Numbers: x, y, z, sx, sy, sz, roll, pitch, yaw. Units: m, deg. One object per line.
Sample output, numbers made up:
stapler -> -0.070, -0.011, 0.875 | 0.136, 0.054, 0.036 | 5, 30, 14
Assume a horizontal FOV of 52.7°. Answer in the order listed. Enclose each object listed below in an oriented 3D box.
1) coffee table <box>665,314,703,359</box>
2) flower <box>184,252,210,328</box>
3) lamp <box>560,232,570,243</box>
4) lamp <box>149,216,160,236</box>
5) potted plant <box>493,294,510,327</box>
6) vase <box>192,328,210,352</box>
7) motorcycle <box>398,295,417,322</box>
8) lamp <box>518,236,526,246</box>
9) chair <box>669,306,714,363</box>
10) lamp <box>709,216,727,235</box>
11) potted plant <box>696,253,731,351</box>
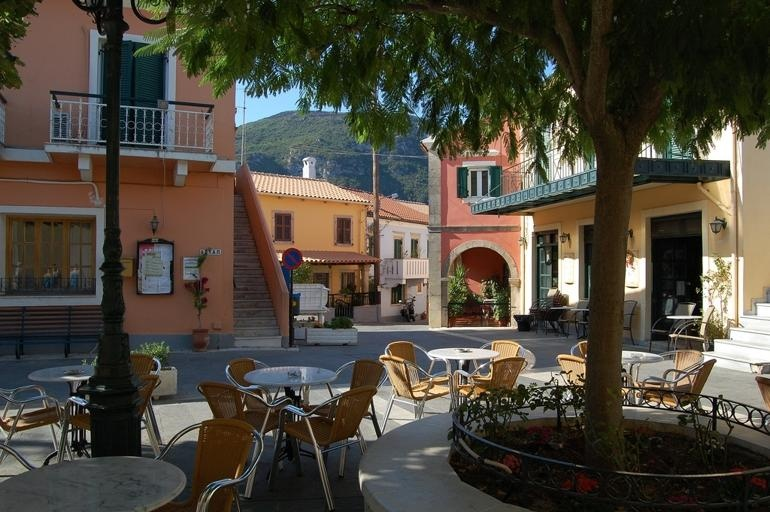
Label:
coffee table -> 5.691, 1.546, 14.822 | 0.642, 1.012, 0.701 | 2, 7, 26
flower -> -3.922, 0.741, 16.247 | 0.527, 1.482, 0.222 | 1, -3, -18
lamp -> 4.667, -0.461, 20.265 | 0.220, 0.282, 0.215 | 3, -2, 5
lamp -> -4.735, -0.616, 16.009 | 0.194, 0.434, 0.210 | 1, -3, -19
potted plant -> 3.531, 1.625, 23.573 | 0.490, 0.959, 0.464 | 0, -3, 7
vase -> -3.778, 1.717, 15.919 | 0.379, 0.460, 0.385 | 0, -9, -5
motorcycle -> 1.031, 2.698, 36.788 | 0.563, 0.745, 1.136 | -11, -14, 13
lamp -> 3.963, -0.426, 22.632 | 0.174, 0.267, 0.280 | 2, -4, -30
chair -> 5.747, 1.491, 14.589 | 0.824, 1.269, 0.887 | 0, -4, 10
lamp -> 6.488, -0.608, 15.254 | 0.169, 0.342, 0.364 | 1, -4, -22
potted plant -> 6.501, 0.812, 15.273 | 0.576, 1.618, 0.371 | -2, -3, 29
